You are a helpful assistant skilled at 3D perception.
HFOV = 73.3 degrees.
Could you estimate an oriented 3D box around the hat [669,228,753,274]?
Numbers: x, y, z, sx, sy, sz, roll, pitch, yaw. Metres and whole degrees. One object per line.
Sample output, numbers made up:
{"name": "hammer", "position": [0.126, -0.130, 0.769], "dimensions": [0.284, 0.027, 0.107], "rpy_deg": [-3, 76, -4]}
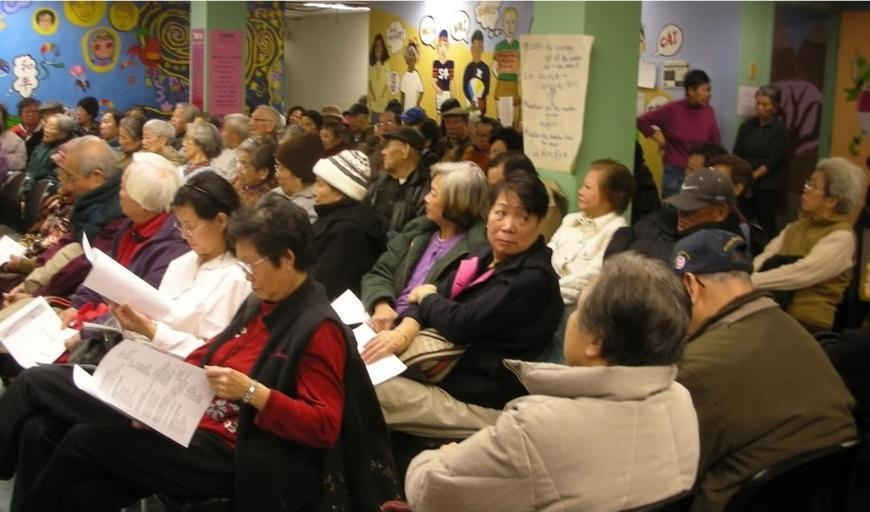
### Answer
{"name": "hat", "position": [1.359, -0.038, 2.875], "dimensions": [0.321, 0.144, 0.225], "rpy_deg": [5, 8, 27]}

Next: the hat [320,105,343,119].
{"name": "hat", "position": [-1.826, -2.578, 10.376], "dimensions": [0.487, 0.131, 0.464], "rpy_deg": [4, 7, 0]}

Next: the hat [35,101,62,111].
{"name": "hat", "position": [-6.623, -2.620, 10.160], "dimensions": [0.248, 0.081, 0.259], "rpy_deg": [2, 10, 18]}

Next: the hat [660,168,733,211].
{"name": "hat", "position": [1.827, -0.473, 4.137], "dimensions": [0.418, 0.216, 0.280], "rpy_deg": [2, 13, -4]}

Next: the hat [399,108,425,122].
{"name": "hat", "position": [-0.299, -1.841, 7.630], "dimensions": [0.312, 0.155, 0.211], "rpy_deg": [-2, 9, -1]}
